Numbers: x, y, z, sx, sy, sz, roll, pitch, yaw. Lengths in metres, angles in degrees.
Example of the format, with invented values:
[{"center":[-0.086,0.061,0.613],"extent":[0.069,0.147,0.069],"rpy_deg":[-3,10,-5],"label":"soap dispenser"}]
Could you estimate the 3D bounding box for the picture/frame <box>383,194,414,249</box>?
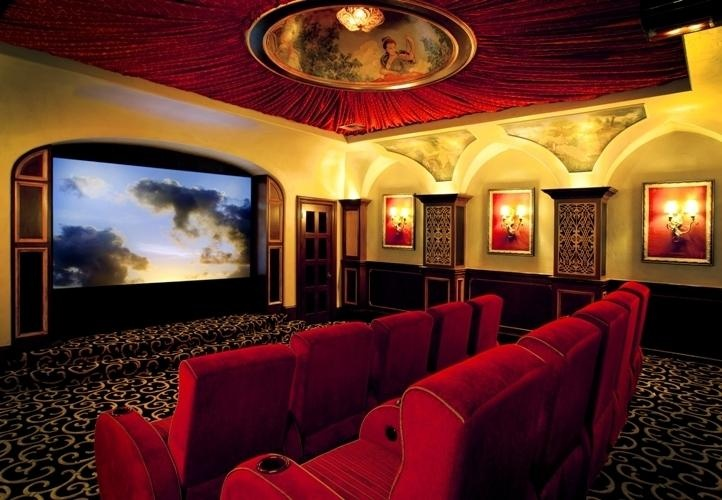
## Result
[{"center":[0.749,-0.558,9.046],"extent":[0.756,1.035,0.151],"rpy_deg":[9,16,35],"label":"picture/frame"}]
